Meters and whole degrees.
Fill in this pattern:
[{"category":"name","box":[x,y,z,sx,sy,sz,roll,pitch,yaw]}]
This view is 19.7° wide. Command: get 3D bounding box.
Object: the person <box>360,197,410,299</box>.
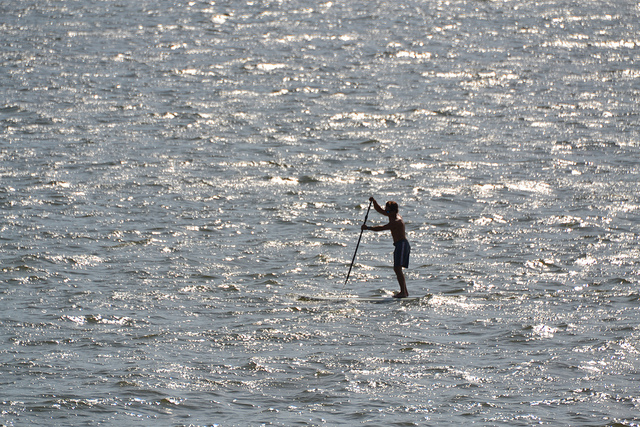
[{"category":"person","box":[2.463,1.158,60.919,1.303,3.250,1.076,2,9,2]}]
